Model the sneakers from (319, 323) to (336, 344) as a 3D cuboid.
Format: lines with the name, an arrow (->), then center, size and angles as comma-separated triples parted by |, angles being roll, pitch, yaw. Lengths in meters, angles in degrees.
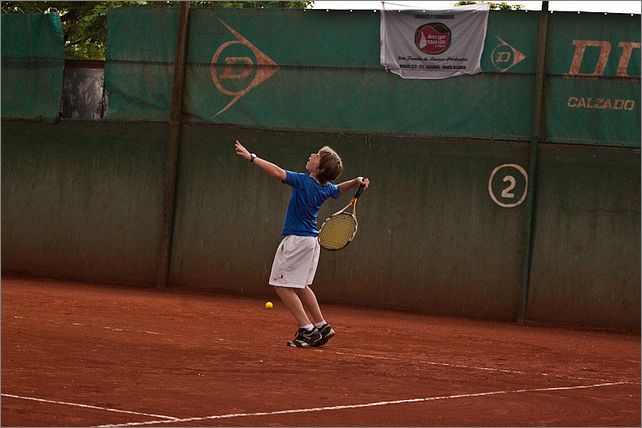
sneakers -> 0.099, 1.670, 11.399 | 0.359, 0.174, 0.139 | -36, -17, 29

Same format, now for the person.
person -> -0.291, 0.474, 11.318 | 1.449, 2.831, 0.702 | 1, 11, -14

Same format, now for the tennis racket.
tennis racket -> 0.359, -0.042, 11.607 | 0.564, 1.406, 0.101 | 7, 39, -20
